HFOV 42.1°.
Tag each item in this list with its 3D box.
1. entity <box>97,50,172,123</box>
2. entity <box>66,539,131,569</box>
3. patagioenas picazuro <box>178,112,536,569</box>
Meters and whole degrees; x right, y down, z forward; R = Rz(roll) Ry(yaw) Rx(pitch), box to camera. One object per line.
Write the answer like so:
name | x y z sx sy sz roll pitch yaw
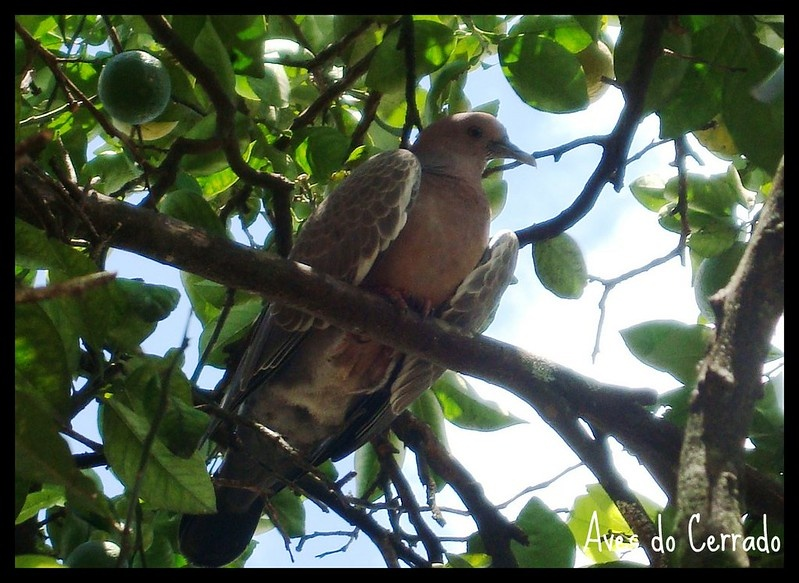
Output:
entity | -0.704 -0.543 2.753 0.194 0.195 0.227 0 -91 9
entity | -0.819 0.706 2.787 0.142 0.092 0.165 6 -21 -36
patagioenas picazuro | -0.160 0.063 3.631 1.398 1.395 0.734 -27 -57 19
